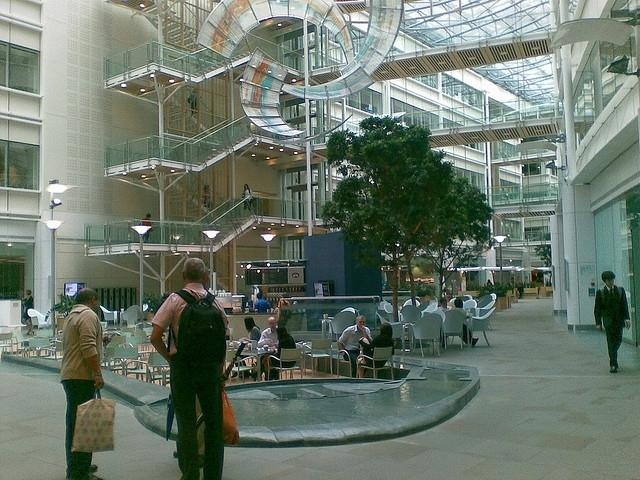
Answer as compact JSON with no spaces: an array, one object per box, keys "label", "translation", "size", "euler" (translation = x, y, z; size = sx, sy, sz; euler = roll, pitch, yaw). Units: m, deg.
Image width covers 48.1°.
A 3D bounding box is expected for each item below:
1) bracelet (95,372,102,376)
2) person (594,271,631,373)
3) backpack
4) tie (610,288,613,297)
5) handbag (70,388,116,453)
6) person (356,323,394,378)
[{"label":"bracelet","translation":[-3.202,1.950,10.371],"size":[0.053,0.043,0.049],"euler":[7,-10,-25]},{"label":"person","translation":[6.485,1.834,15.937],"size":[0.662,2.247,0.942],"euler":[-4,-7,23]},{"label":"backpack","translation":[-1.638,1.187,9.719],"size":[0.688,1.033,0.255],"euler":[0,-6,-14]},{"label":"tie","translation":[6.388,1.139,15.755],"size":[0.073,0.179,0.049],"euler":[-3,-6,13]},{"label":"handbag","translation":[-3.244,2.658,10.222],"size":[0.575,0.752,0.249],"euler":[0,-6,-17]},{"label":"person","translation":[1.288,2.598,16.839],"size":[0.802,1.244,1.120],"euler":[0,-6,-16]}]
